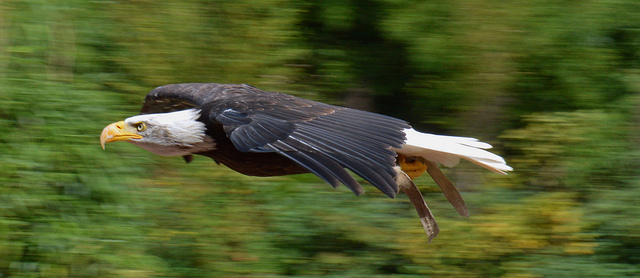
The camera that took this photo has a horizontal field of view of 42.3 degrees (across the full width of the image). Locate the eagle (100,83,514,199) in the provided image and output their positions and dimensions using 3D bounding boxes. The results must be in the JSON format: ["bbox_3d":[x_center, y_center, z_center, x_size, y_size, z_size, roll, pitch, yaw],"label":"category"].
[{"bbox_3d":[-0.424,-0.015,11.731,4.431,1.499,1.926,4,21,27],"label":"eagle"}]
